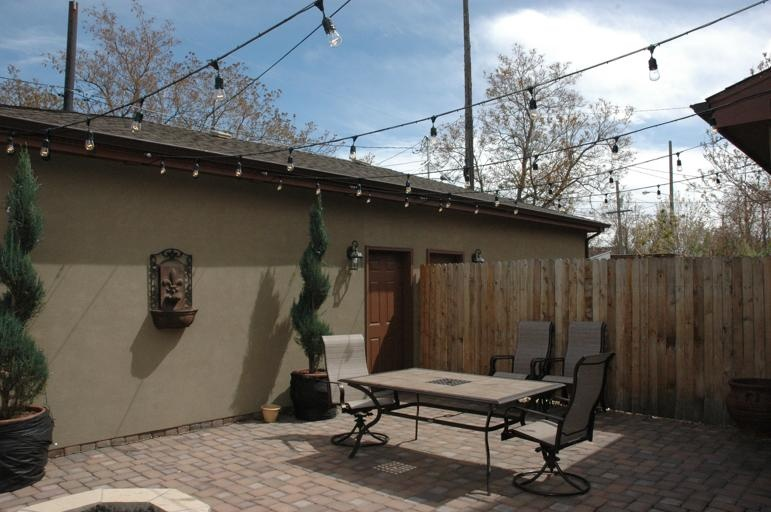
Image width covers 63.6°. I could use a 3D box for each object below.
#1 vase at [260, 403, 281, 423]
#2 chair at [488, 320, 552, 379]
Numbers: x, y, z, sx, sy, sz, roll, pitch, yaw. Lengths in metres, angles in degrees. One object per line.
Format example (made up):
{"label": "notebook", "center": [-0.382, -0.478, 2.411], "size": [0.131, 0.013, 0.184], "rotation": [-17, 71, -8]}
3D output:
{"label": "vase", "center": [-2.143, 2.906, 11.607], "size": [0.305, 0.223, 0.315], "rotation": [3, -13, -9]}
{"label": "chair", "center": [2.780, 1.901, 12.782], "size": [1.019, 1.569, 1.156], "rotation": [-4, -11, 41]}
